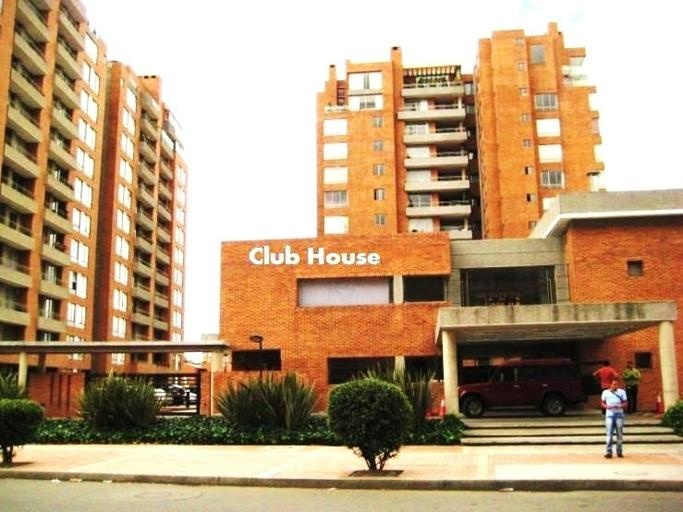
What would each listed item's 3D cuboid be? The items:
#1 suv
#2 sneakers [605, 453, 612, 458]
[{"bbox_3d":[7.548,5.602,33.072,4.934,2.059,2.663,1,-11,4],"label":"suv"},{"bbox_3d":[7.899,5.867,23.053,0.211,0.101,0.291,1,-2,16],"label":"sneakers"}]
